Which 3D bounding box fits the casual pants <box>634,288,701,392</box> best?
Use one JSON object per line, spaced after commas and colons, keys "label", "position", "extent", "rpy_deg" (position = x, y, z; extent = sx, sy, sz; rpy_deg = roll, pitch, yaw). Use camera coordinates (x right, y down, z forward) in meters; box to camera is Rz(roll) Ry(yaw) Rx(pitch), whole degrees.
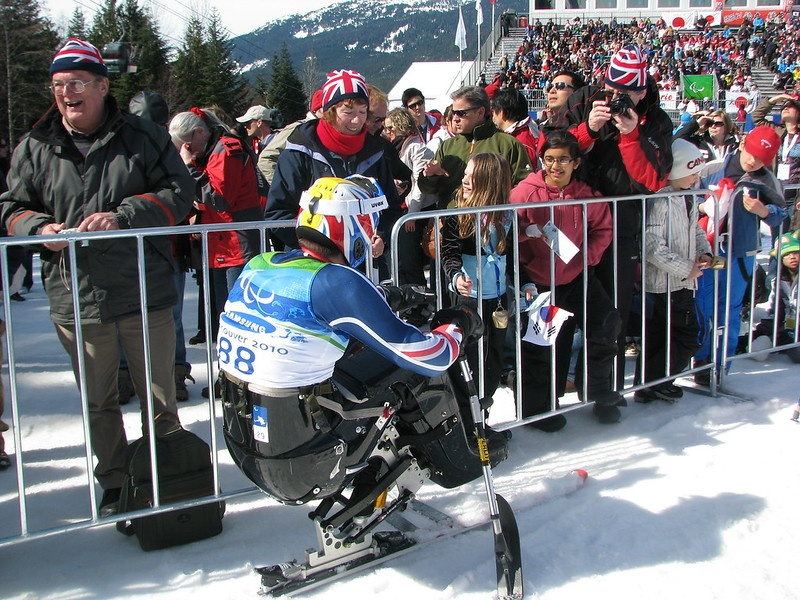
{"label": "casual pants", "position": [2.154, 0.351, 5.754], "extent": [0.608, 0.862, 0.357], "rpy_deg": [-3, 7, 6]}

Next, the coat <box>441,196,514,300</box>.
{"label": "coat", "position": [0.572, -0.311, 5.096], "extent": [0.628, 0.626, 0.314], "rpy_deg": [-5, -10, -35]}

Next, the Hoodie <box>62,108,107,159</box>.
{"label": "Hoodie", "position": [-1.867, -0.976, 4.203], "extent": [0.174, 0.247, 0.143], "rpy_deg": [-7, 4, -13]}

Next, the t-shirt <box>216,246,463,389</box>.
{"label": "t-shirt", "position": [-0.312, -0.039, 3.479], "extent": [0.746, 0.391, 0.725], "rpy_deg": [14, 15, 42]}

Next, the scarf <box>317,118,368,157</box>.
{"label": "scarf", "position": [-0.418, -1.188, 5.227], "extent": [0.282, 0.146, 0.249], "rpy_deg": [0, 15, -20]}

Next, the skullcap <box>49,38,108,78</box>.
{"label": "skullcap", "position": [-1.869, -1.393, 4.154], "extent": [0.242, 0.193, 0.252], "rpy_deg": [0, 5, -9]}

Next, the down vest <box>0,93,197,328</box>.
{"label": "down vest", "position": [-1.797, -0.540, 4.264], "extent": [1.057, 1.329, 0.431], "rpy_deg": [-4, 7, -5]}

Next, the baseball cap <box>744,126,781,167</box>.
{"label": "baseball cap", "position": [3.124, -1.339, 6.225], "extent": [0.268, 0.341, 0.236], "rpy_deg": [0, 8, 26]}

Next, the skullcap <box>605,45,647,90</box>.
{"label": "skullcap", "position": [1.752, -1.737, 5.370], "extent": [0.353, 0.236, 0.265], "rpy_deg": [-22, 55, -35]}

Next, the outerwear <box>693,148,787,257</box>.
{"label": "outerwear", "position": [2.955, -0.744, 6.293], "extent": [0.773, 1.135, 0.649], "rpy_deg": [9, 11, 23]}

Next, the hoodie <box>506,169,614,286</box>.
{"label": "hoodie", "position": [1.184, -0.530, 5.389], "extent": [0.821, 0.835, 0.517], "rpy_deg": [0, 21, 2]}

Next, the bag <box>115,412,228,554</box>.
{"label": "bag", "position": [-1.270, 1.103, 4.295], "extent": [0.607, 0.680, 0.382], "rpy_deg": [-10, 9, -10]}

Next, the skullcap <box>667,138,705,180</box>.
{"label": "skullcap", "position": [2.247, -1.136, 5.720], "extent": [0.299, 0.253, 0.235], "rpy_deg": [-21, 29, -6]}

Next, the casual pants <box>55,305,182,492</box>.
{"label": "casual pants", "position": [-1.748, 0.543, 4.519], "extent": [0.585, 1.398, 0.378], "rpy_deg": [-13, 28, -31]}

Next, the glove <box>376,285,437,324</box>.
{"label": "glove", "position": [0.034, 0.022, 3.802], "extent": [0.274, 0.124, 0.185], "rpy_deg": [25, -7, 34]}

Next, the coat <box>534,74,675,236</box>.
{"label": "coat", "position": [1.570, -1.077, 5.487], "extent": [1.048, 1.502, 0.888], "rpy_deg": [13, 34, 35]}
